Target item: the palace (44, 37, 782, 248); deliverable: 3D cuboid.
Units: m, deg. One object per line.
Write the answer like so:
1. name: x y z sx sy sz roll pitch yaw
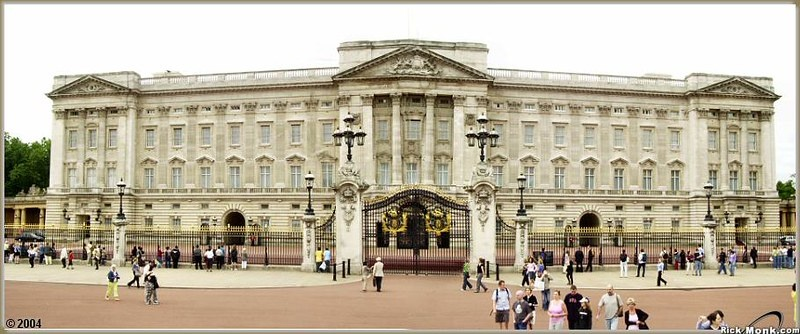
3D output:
1. palace: 4.565 -2.851 220.542 128.686 24.028 24.769 1 2 11
